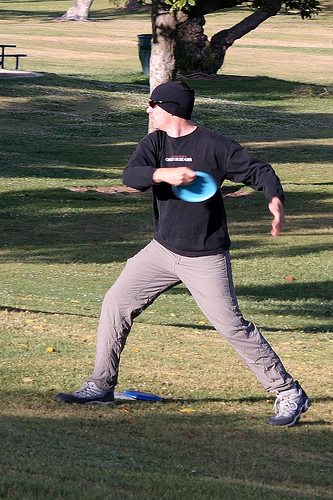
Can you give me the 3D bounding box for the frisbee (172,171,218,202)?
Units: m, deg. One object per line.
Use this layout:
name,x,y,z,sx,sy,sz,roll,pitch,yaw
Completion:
frisbee,0.155,-0.355,4.196,0.248,0.172,0.084,5,13,0
